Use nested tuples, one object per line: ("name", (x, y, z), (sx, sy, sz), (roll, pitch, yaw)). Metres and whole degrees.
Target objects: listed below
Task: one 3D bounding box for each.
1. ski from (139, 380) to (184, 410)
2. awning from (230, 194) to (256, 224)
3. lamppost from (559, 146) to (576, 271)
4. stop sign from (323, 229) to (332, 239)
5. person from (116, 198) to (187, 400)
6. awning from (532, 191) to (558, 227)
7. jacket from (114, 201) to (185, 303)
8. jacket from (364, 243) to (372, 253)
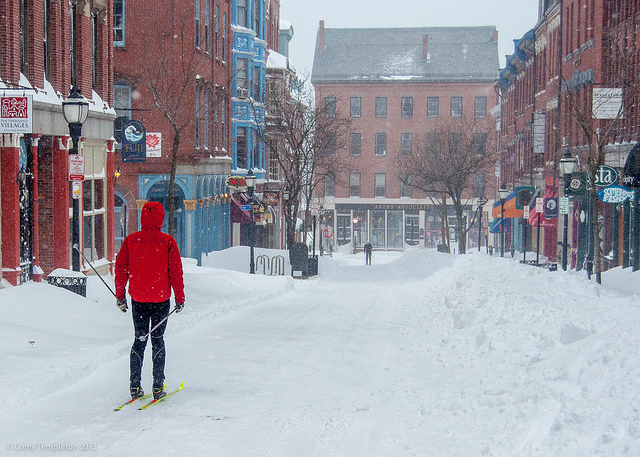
("ski", (-2.532, 2.682, 15.853), (0.188, 0.217, 1.479), (4, 13, 14))
("awning", (-3.906, -1.462, 49.030), (1.144, 2.389, 2.263), (-3, 3, -7))
("lamppost", (10.298, -0.717, 40.518), (0.671, 5.784, 0.952), (-8, 9, -38))
("stop sign", (0.499, 0.373, 69.778), (0.520, 0.579, 0.126), (5, -2, 44))
("person", (-2.722, 1.168, 15.708), (1.057, 3.158, 0.454), (-5, 6, -13))
("awning", (10.425, -0.599, 45.120), (1.100, 1.569, 4.169), (-2, 7, 12))
("jacket", (-2.771, 0.401, 15.658), (1.052, 1.619, 0.509), (-5, 6, -10))
("jacket", (3.034, 1.224, 61.179), (0.329, 0.559, 0.851), (-4, 6, -5))
